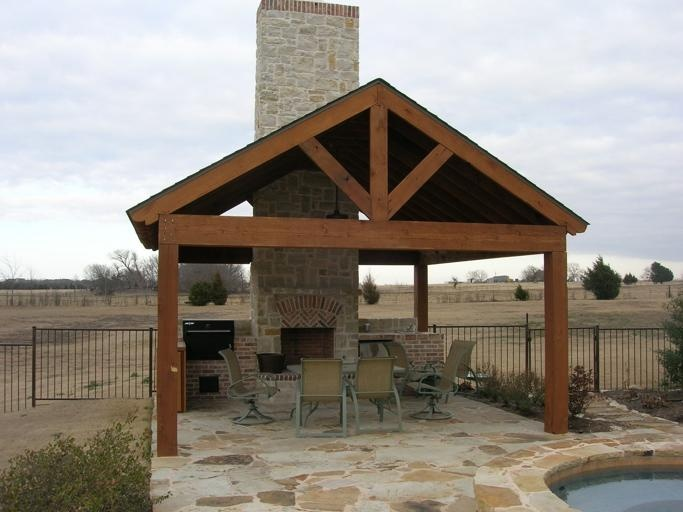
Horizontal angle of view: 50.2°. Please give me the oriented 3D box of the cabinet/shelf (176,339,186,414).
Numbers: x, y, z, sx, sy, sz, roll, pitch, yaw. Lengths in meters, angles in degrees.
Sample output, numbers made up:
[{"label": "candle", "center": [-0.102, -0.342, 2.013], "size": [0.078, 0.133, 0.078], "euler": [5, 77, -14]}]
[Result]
[{"label": "cabinet/shelf", "center": [-3.859, 3.000, 17.600], "size": [0.181, 1.554, 0.446], "euler": [1, -6, -7]}]

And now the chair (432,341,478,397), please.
[{"label": "chair", "center": [2.776, 2.612, 17.491], "size": [0.895, 1.389, 0.961], "euler": [1, 2, -16]}]

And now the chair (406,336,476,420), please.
[{"label": "chair", "center": [2.408, 2.970, 17.561], "size": [1.525, 1.868, 1.318], "euler": [2, -7, -18]}]

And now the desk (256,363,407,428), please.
[{"label": "desk", "center": [0.125, 3.151, 16.427], "size": [3.044, 1.642, 2.243], "euler": [1, -1, -14]}]

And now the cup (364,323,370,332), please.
[{"label": "cup", "center": [0.694, 1.967, 20.037], "size": [0.169, 0.193, 0.171], "euler": [0, -7, 0]}]

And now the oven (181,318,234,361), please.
[{"label": "oven", "center": [-3.608, 2.283, 18.919], "size": [1.453, 1.059, 0.864], "euler": [6, -19, -39]}]

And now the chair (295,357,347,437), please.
[{"label": "chair", "center": [-0.488, 3.168, 16.710], "size": [1.187, 1.710, 1.566], "euler": [0, 3, -3]}]

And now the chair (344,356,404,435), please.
[{"label": "chair", "center": [0.644, 3.165, 16.740], "size": [1.143, 1.770, 1.577], "euler": [0, -3, -12]}]
